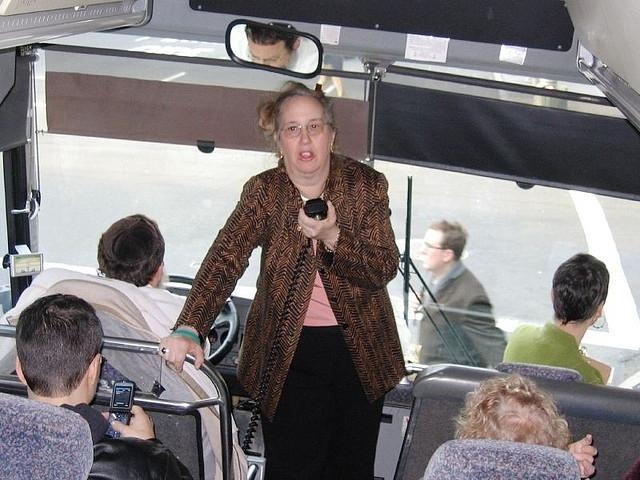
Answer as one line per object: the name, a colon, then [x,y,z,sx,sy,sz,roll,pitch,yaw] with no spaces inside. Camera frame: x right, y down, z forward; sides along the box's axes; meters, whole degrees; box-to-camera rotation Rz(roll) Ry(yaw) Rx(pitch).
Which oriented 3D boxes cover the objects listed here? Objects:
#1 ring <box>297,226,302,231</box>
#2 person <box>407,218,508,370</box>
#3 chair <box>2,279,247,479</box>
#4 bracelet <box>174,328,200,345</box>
ring: [-0.079,-0.044,2.096,0.019,0.019,0.005,-3,-3,41]
person: [0.900,0.338,3.398,0.576,0.726,0.161,4,-1,-8]
chair: [-0.831,0.613,2.232,0.730,1.016,0.647,7,-47,-32]
bracelet: [-0.484,0.344,1.956,0.066,0.050,0.066,5,-46,0]
